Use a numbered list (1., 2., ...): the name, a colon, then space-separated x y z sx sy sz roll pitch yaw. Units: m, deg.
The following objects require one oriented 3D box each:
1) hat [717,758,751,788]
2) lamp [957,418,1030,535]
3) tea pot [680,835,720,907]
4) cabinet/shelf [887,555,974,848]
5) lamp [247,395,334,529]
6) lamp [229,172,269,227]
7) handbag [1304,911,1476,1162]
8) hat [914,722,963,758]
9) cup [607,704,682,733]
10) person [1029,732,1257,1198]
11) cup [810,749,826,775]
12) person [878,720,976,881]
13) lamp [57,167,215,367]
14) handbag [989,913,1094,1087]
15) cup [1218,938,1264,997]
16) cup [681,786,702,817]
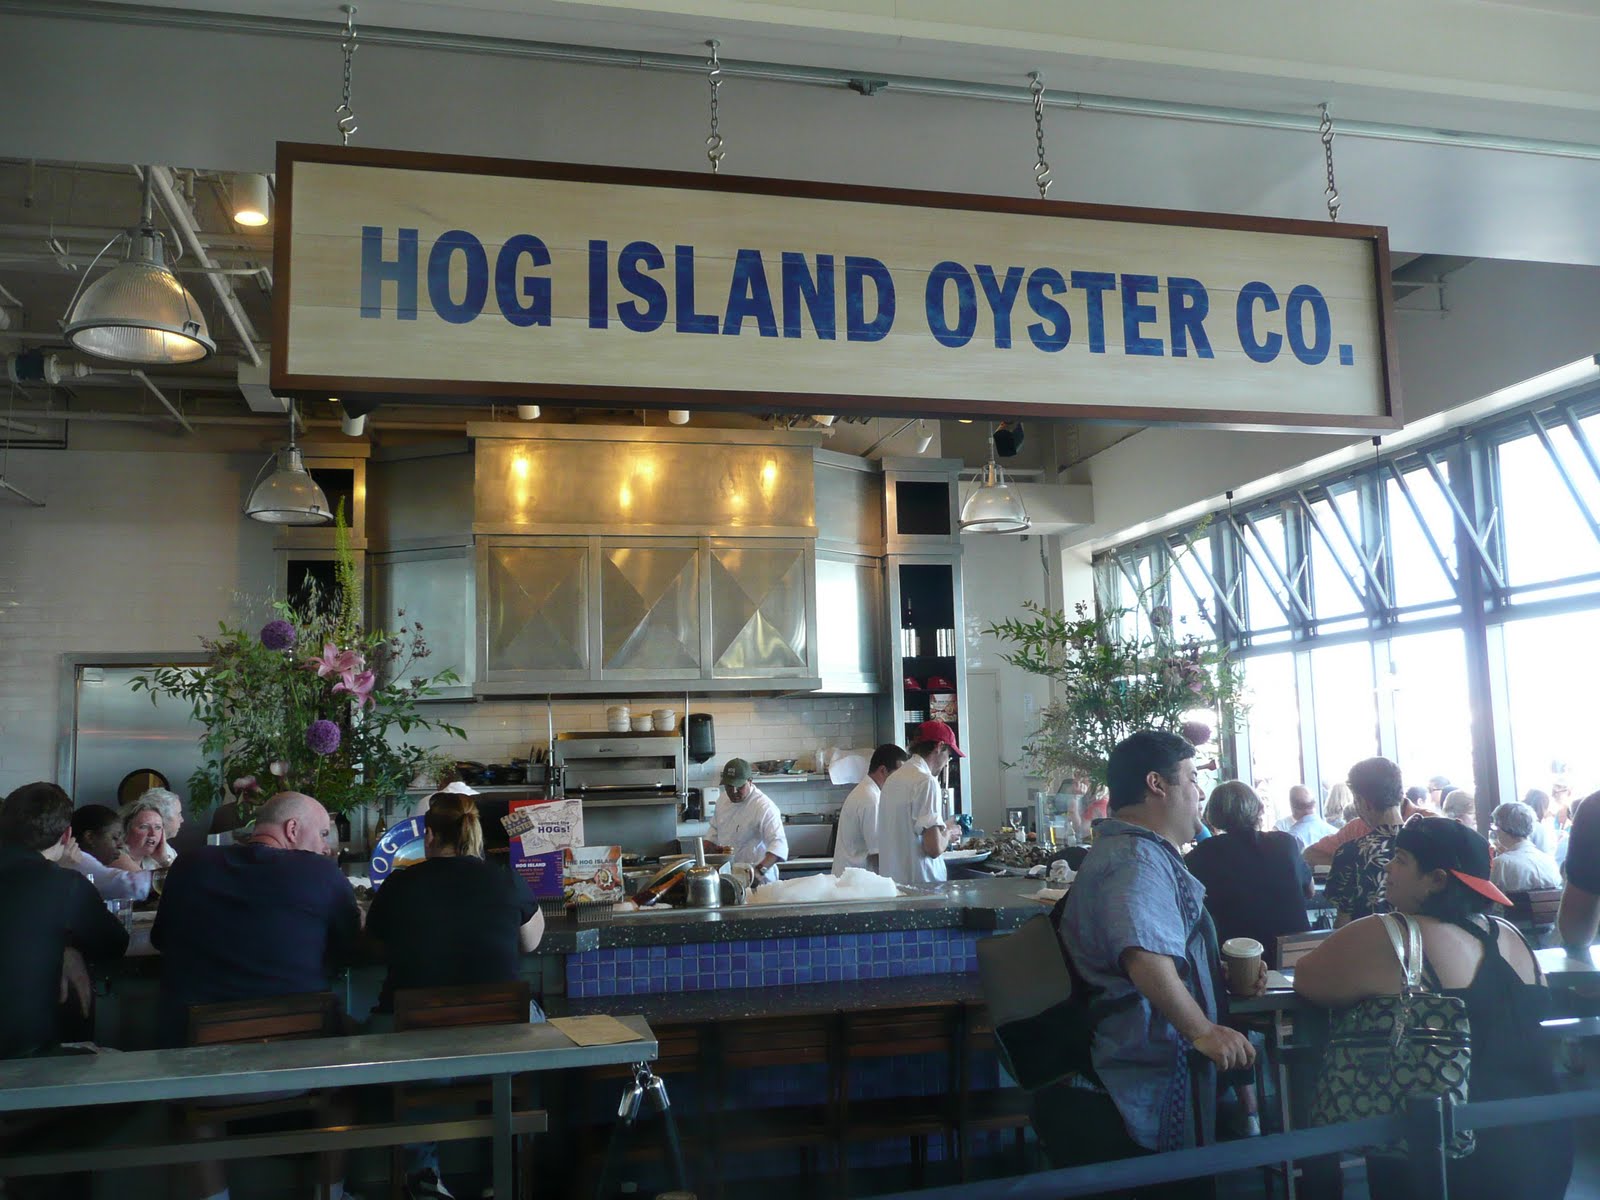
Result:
1. hat: -0.370 0.960 8.099 0.149 0.179 0.186 1 -12 -5
2. lamp: 1.075 -0.708 8.182 0.392 0.610 0.341 -2 -1 -15
3. tea pot: -0.377 1.103 5.742 0.118 0.191 0.189 0 -9 2
4. cabinet/shelf: 0.885 0.611 10.319 0.378 1.830 0.249 0 -13 -2
5. lamp: -2.527 -0.717 7.248 0.402 0.593 0.392 0 -1 -11
6. lamp: -2.602 -1.909 6.940 0.172 0.199 0.396 1 0 -18
7. handbag: 1.699 1.229 4.095 0.296 0.698 0.486 23 -28 -23
8. hat: 0.736 0.695 7.366 0.307 0.176 0.210 2 2 -20
9. cup: -1.023 0.782 9.451 0.321 0.119 0.195 2 -9 -3
10. person: 0.927 0.994 4.014 0.553 1.236 0.474 1 0 9
11. cup: 0.122 1.106 9.958 0.105 0.102 0.105 0 -14 0
12. person: 0.567 1.005 7.201 0.353 0.784 0.553 1 0 3
13. lamp: -2.094 -1.064 4.616 0.412 0.550 0.425 1 0 -11
14. handbag: 0.682 1.150 4.205 0.265 0.486 0.320 -13 -11 5
15. cup: 1.361 1.136 4.540 0.146 0.149 0.145 -2 -2 0
16. cup: -0.690 1.332 9.550 0.155 0.285 0.154 0 -4 0
